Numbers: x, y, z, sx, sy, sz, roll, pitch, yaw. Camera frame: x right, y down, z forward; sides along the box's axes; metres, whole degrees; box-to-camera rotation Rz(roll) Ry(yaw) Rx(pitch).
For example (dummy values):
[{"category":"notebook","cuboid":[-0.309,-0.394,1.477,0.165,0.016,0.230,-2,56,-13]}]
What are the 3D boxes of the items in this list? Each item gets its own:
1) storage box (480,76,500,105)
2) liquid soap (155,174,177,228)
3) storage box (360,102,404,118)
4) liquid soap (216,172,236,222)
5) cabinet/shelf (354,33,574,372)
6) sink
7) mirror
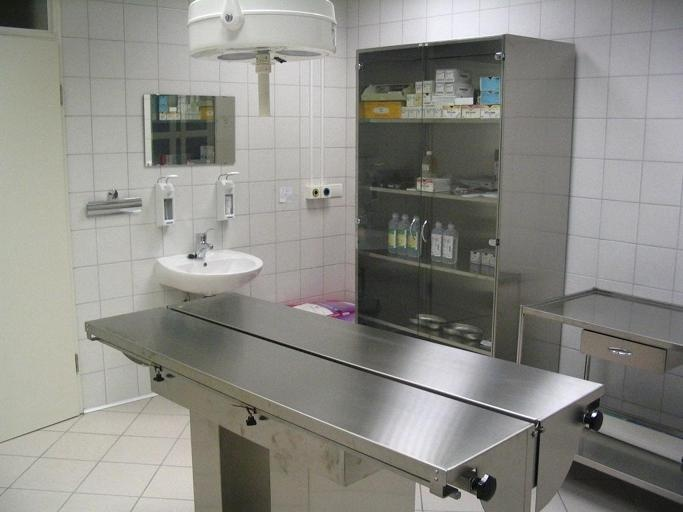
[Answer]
[{"category":"storage box","cuboid":[0.878,-0.978,3.226,0.052,0.160,0.159,-10,16,-33]},{"category":"liquid soap","cuboid":[-1.232,-0.392,3.906,0.169,0.379,0.115,-3,11,-26]},{"category":"storage box","cuboid":[0.294,-1.015,3.837,0.177,0.083,0.178,10,15,39]},{"category":"liquid soap","cuboid":[-0.849,-0.453,4.182,0.097,0.372,0.204,11,13,43]},{"category":"cabinet/shelf","cuboid":[0.742,-0.384,3.671,1.414,1.995,0.541,8,12,35]},{"category":"sink","cuboid":[-0.912,0.106,3.951,0.648,0.214,0.558,9,13,36]},{"category":"mirror","cuboid":[-1.117,-0.915,3.957,0.545,0.402,0.022,-5,9,-40]}]
